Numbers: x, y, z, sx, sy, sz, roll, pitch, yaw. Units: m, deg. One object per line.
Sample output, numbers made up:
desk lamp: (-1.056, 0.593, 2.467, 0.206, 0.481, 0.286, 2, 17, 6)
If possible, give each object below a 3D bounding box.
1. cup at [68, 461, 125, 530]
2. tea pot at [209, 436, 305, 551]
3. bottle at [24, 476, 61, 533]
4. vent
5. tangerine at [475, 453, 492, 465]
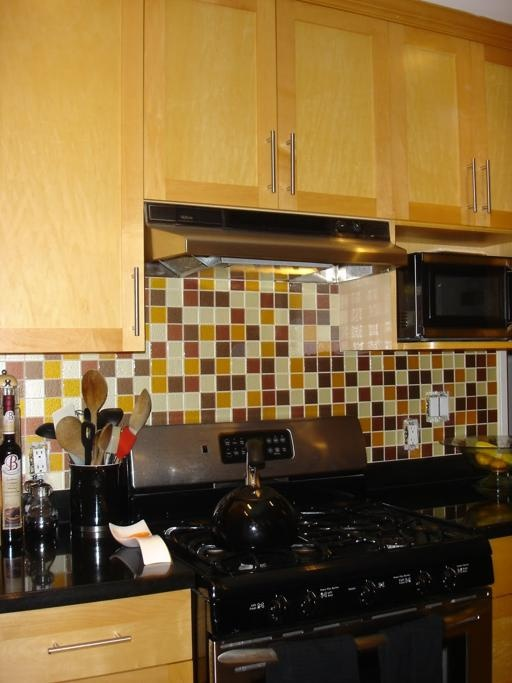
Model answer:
cup: (-0.383, 0.369, 1.670, 0.160, 0.178, 0.162, 0, 1, 0)
tea pot: (-0.004, 0.345, 1.540, 0.166, 0.220, 0.235, 7, 2, -3)
bottle: (-0.509, 0.391, 1.633, 0.093, 0.133, 0.122, 0, 0, -25)
vent: (0.040, -0.258, 1.790, 0.732, 0.155, 0.401, -1, -3, -28)
tangerine: (0.726, 0.370, 2.114, 0.035, 0.025, 0.045, 13, 11, -16)
